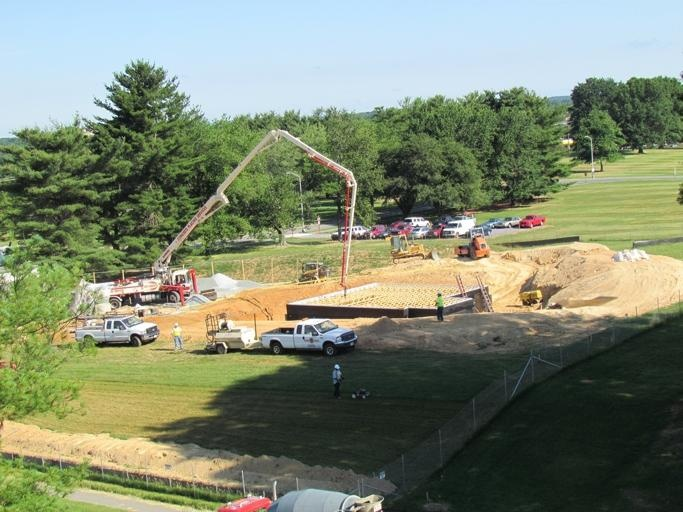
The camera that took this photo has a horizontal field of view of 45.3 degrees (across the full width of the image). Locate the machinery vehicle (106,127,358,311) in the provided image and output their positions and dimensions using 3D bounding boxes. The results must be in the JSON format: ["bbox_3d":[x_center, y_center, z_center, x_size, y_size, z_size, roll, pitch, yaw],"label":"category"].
[{"bbox_3d":[-12.461,-0.471,68.072,23.095,15.755,9.405,-13,6,-21],"label":"machinery vehicle"}]

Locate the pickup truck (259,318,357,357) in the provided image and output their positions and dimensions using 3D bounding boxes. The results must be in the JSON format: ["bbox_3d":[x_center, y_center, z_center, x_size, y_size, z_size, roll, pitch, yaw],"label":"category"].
[{"bbox_3d":[-1.849,4.975,48.819,4.912,1.477,2.482,0,3,24],"label":"pickup truck"}]

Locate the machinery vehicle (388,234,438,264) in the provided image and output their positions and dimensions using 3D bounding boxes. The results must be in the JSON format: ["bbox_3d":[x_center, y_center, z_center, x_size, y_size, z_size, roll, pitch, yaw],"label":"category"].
[{"bbox_3d":[6.609,-0.690,80.160,3.646,1.999,2.054,-5,3,2],"label":"machinery vehicle"}]

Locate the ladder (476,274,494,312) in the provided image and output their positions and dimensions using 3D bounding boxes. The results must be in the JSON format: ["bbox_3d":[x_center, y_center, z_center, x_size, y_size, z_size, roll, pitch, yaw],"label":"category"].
[{"bbox_3d":[11.043,3.043,63.429,0.435,3.525,0.363,8,-49,-22],"label":"ladder"}]

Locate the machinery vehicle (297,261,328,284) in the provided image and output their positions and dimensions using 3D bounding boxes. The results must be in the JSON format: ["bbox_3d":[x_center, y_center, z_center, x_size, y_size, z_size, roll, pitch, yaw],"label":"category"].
[{"bbox_3d":[-2.538,1.519,76.105,1.754,1.298,2.774,1,7,11],"label":"machinery vehicle"}]

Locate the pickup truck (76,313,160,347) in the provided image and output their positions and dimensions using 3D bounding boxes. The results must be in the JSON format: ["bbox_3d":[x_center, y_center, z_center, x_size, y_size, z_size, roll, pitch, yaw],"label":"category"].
[{"bbox_3d":[-15.071,5.042,54.971,4.341,1.331,2.359,-1,4,11],"label":"pickup truck"}]

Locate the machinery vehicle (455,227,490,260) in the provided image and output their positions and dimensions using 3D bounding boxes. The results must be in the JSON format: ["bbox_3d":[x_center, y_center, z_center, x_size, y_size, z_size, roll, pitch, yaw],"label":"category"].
[{"bbox_3d":[12.849,-0.822,79.557,2.416,2.238,4.046,-2,8,-15],"label":"machinery vehicle"}]
